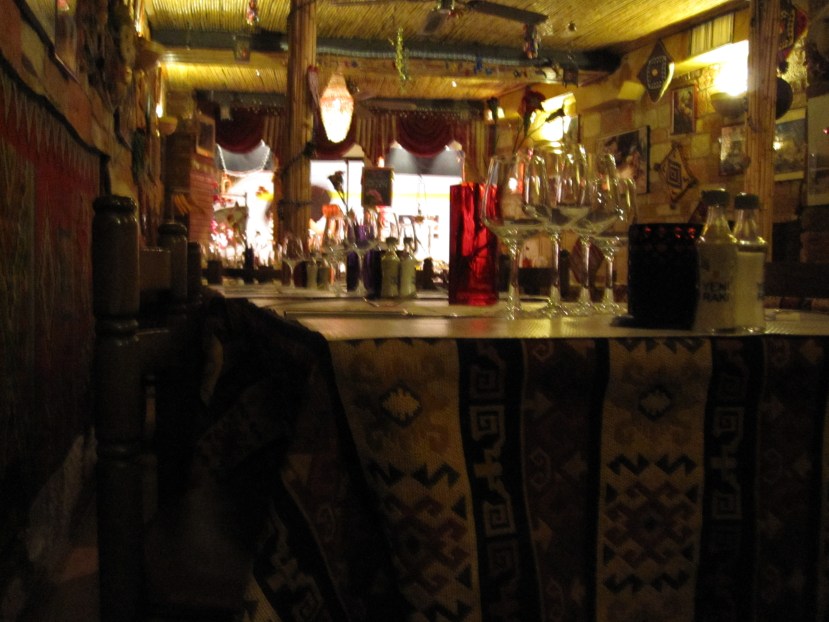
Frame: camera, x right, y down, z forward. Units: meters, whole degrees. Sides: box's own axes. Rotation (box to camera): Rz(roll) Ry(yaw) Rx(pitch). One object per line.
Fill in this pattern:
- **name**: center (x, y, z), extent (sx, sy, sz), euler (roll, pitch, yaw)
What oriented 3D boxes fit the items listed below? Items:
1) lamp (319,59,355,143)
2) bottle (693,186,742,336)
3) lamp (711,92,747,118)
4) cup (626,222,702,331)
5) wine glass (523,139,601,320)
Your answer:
- **lamp**: center (-0.549, -1.504, 5.575), extent (0.283, 0.667, 0.315), euler (0, -20, -15)
- **bottle**: center (0.547, -0.091, 1.386), extent (0.067, 0.261, 0.073), euler (0, 0, 20)
- **lamp**: center (3.004, -1.965, 7.282), extent (0.079, 0.253, 0.417), euler (-10, 12, -22)
- **cup**: center (0.472, -0.071, 1.438), extent (0.121, 0.228, 0.129), euler (-4, 15, 1)
- **wine glass**: center (0.320, -0.193, 1.719), extent (0.153, 0.411, 0.162), euler (-10, 24, -13)
